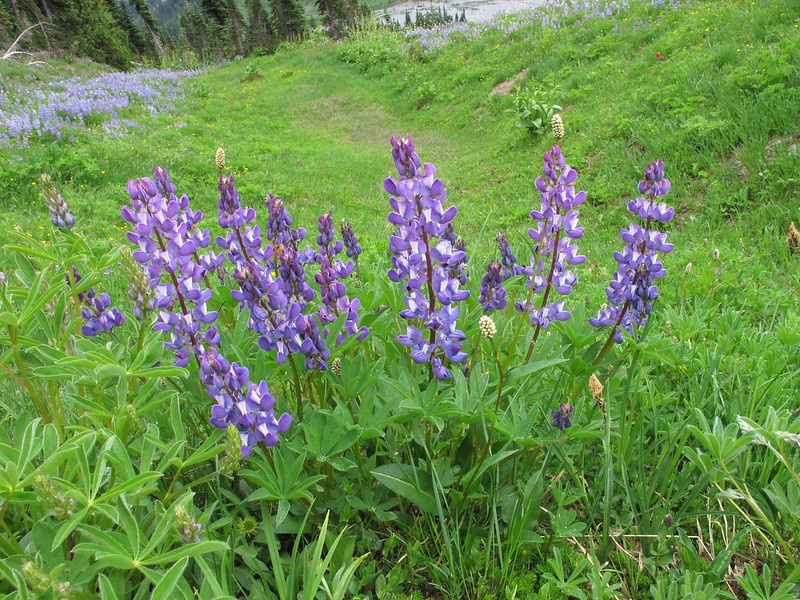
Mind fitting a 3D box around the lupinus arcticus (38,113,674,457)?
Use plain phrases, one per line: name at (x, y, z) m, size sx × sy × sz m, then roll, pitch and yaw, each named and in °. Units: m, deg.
lupinus arcticus at (-0.180, -0.269, 4.696) m, size 3.459 × 1.747 × 2.394 m, roll -12°, pitch 36°, yaw -16°
